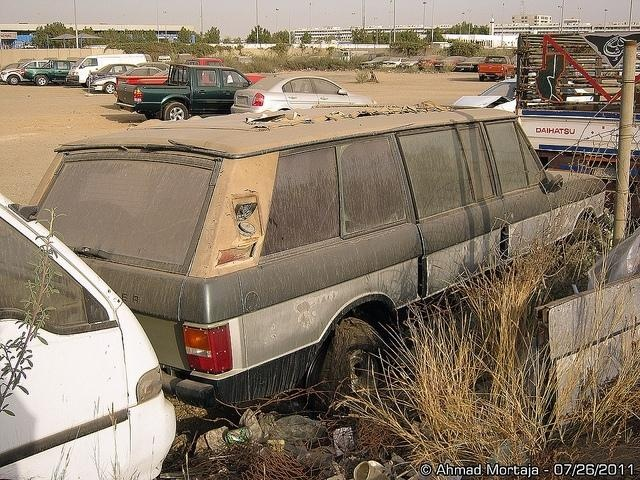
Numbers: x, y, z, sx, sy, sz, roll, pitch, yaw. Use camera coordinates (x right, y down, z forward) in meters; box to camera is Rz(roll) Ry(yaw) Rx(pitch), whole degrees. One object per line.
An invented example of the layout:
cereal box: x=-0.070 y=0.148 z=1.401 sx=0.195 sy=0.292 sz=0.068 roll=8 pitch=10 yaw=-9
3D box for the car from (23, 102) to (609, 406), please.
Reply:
car: x=0.314 y=-0.087 z=4.597 sx=4.144 sy=1.691 sz=2.368 roll=-22 pitch=27 yaw=-38

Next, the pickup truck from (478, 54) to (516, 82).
pickup truck: x=13.987 y=-13.559 z=41.772 sx=2.493 sy=1.753 sz=2.211 roll=1 pitch=21 yaw=17
